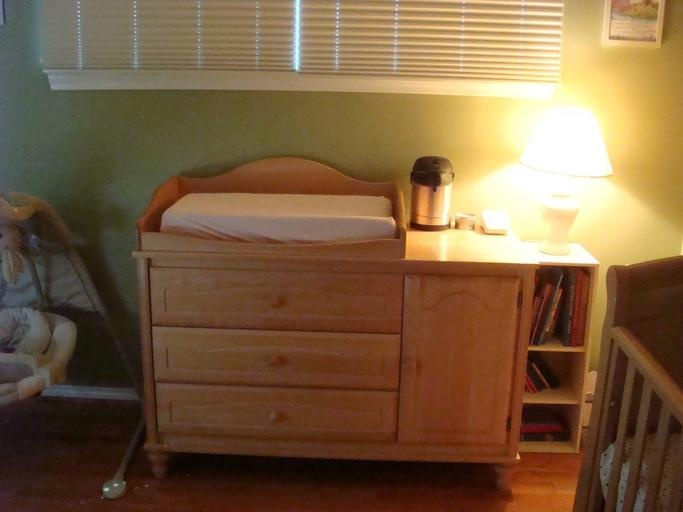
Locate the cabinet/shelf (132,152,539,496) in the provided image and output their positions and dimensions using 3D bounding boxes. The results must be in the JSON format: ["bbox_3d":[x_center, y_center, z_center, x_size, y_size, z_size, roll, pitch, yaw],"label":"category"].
[{"bbox_3d":[-0.034,0.343,2.890,1.374,1.220,0.549,0,14,3],"label":"cabinet/shelf"}]

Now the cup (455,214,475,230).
[{"bbox_3d":[0.568,-0.162,3.082,0.074,0.049,0.072,1,8,0],"label":"cup"}]
